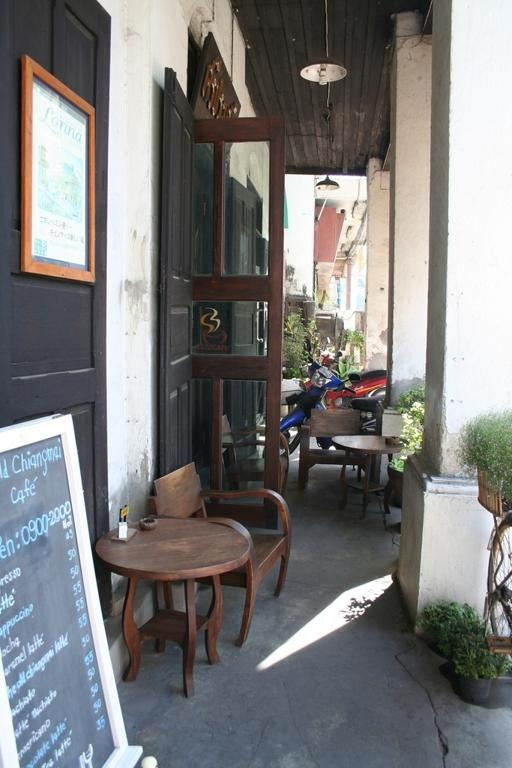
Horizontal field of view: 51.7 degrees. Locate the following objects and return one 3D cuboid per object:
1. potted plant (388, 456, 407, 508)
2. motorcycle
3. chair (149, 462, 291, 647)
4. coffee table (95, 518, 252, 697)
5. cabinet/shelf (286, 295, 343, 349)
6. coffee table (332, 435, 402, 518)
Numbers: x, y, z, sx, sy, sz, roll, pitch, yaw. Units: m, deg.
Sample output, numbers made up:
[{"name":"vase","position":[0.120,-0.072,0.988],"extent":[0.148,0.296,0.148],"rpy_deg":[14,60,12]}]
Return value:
[{"name":"potted plant","position":[1.120,0.803,4.273],"extent":[0.109,0.444,0.738],"rpy_deg":[1,1,14]},{"name":"motorcycle","position":[0.834,0.267,5.836],"extent":[1.338,1.185,0.742],"rpy_deg":[5,9,-26]},{"name":"chair","position":[-0.140,0.824,2.494],"extent":[0.449,0.880,0.678],"rpy_deg":[-6,0,17]},{"name":"coffee table","position":[-0.292,0.839,1.972],"extent":[0.450,0.556,0.490],"rpy_deg":[6,6,31]},{"name":"cabinet/shelf","position":[1.916,-1.665,14.834],"extent":[1.043,0.923,1.758],"rpy_deg":[6,10,7]},{"name":"coffee table","position":[0.902,0.743,4.316],"extent":[0.466,0.585,0.484],"rpy_deg":[0,5,-28]}]
